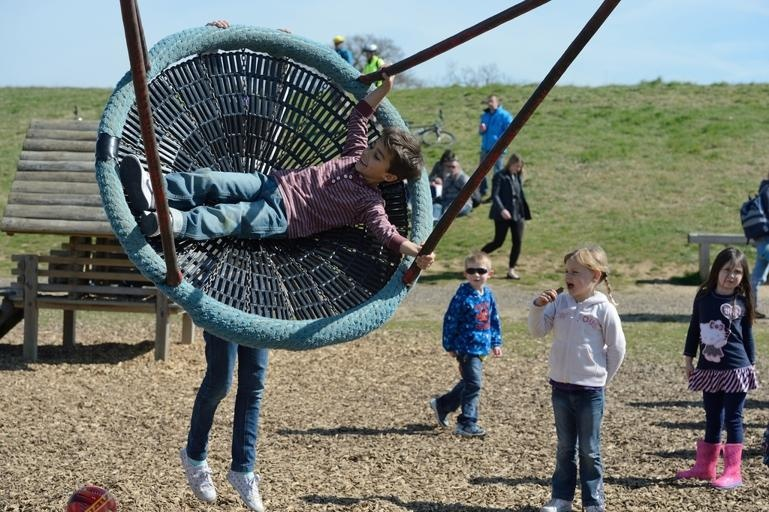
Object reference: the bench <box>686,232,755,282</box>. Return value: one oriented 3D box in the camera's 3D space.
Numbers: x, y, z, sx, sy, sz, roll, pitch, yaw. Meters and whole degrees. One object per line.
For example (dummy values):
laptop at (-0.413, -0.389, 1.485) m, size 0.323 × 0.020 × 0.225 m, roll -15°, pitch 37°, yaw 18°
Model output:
bench at (5.419, 0.037, 24.371) m, size 1.341 × 0.695 × 0.157 m, roll 0°, pitch 0°, yaw -11°

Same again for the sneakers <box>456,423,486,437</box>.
sneakers at (1.056, 2.106, 18.924) m, size 0.371 × 0.174 × 0.146 m, roll 0°, pitch 1°, yaw 4°

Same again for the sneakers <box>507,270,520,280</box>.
sneakers at (2.071, 0.304, 24.887) m, size 0.113 × 0.124 × 0.198 m, roll 3°, pitch -1°, yaw -34°

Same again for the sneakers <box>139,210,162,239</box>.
sneakers at (-2.556, -0.341, 16.809) m, size 0.231 × 0.289 × 0.161 m, roll 18°, pitch 16°, yaw 28°

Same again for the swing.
swing at (-0.450, -0.558, 19.138) m, size 3.802 × 3.344 × 3.336 m, roll -30°, pitch 5°, yaw 40°

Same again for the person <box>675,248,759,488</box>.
person at (3.917, 1.275, 17.993) m, size 0.825 × 2.692 × 0.625 m, roll 4°, pitch 10°, yaw 12°

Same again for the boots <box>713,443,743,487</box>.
boots at (4.022, 2.388, 18.020) m, size 0.421 × 0.499 × 0.328 m, roll 1°, pitch 10°, yaw -4°

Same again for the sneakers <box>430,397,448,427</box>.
sneakers at (0.665, 1.929, 19.059) m, size 0.182 × 0.415 × 0.151 m, roll -19°, pitch 8°, yaw 11°

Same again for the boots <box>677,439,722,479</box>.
boots at (3.671, 2.386, 18.124) m, size 0.522 × 0.492 × 0.234 m, roll 1°, pitch 3°, yaw 11°
